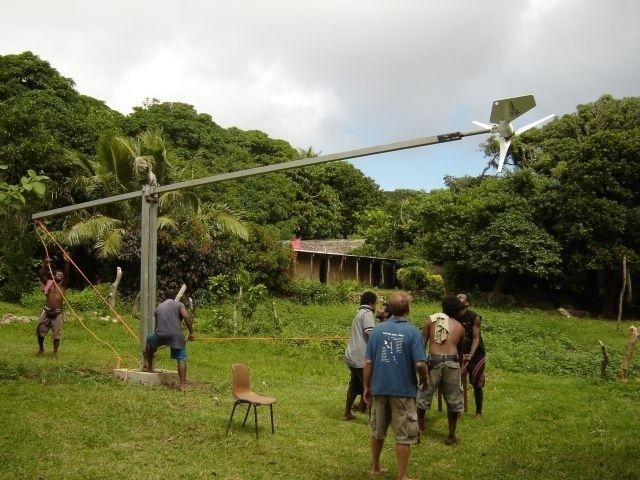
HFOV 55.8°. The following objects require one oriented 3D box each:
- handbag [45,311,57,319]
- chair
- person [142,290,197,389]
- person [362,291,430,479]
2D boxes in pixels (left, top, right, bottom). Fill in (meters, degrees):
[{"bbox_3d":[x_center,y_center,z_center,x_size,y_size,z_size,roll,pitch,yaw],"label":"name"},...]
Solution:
[{"bbox_3d":[-6.611,1.826,14.890,0.291,0.219,0.070,0,7,-17],"label":"handbag"},{"bbox_3d":[-1.265,3.019,11.513,0.760,1.160,0.646,4,3,26],"label":"chair"},{"bbox_3d":[-3.410,2.148,13.566,1.049,2.239,1.581,0,7,-16],"label":"person"},{"bbox_3d":[1.245,2.443,10.053,0.989,3.102,0.633,8,9,37],"label":"person"}]
